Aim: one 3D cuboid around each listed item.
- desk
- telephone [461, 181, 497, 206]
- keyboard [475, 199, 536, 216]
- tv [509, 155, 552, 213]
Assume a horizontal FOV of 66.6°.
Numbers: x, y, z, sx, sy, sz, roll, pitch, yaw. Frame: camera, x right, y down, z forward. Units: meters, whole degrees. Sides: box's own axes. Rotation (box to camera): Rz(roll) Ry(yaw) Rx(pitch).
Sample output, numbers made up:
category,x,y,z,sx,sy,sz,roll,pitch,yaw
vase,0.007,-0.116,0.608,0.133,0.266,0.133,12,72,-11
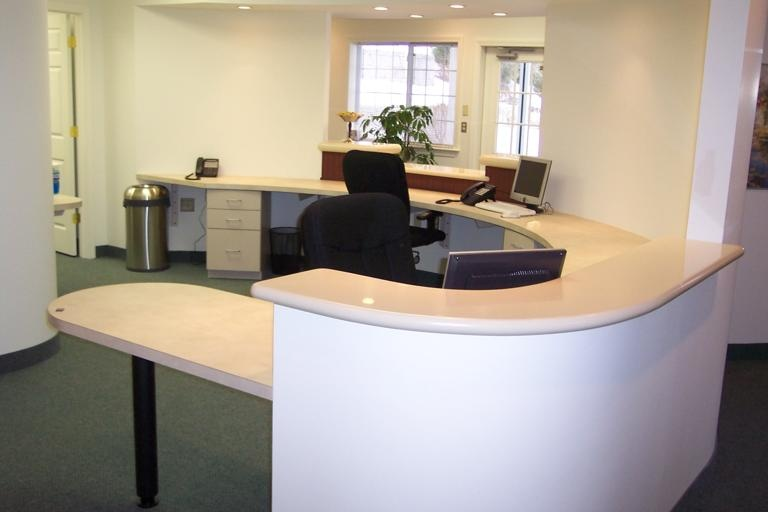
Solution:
category,x,y,z,sx,sy,sz,roll,pitch,yaw
desk,-0.930,0.134,4.962,3.893,1.216,4.884,-11,20,-40
telephone,0.857,-0.572,5.269,0.241,0.130,0.236,-15,13,-18
keyboard,1.019,-0.409,4.974,0.217,0.051,0.254,-11,24,-31
tv,1.276,-0.619,5.045,0.259,0.462,0.405,-9,24,-27
